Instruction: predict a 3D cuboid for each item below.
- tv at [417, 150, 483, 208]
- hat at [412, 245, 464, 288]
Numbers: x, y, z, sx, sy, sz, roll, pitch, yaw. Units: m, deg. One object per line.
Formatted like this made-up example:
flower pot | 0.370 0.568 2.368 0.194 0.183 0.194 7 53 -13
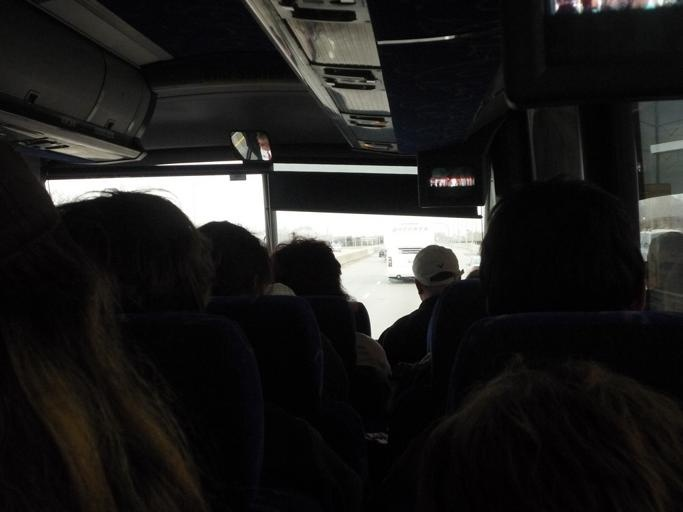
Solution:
tv | 0.815 -0.563 4.023 0.682 0.592 0.377 -1 7 11
hat | 0.593 0.030 3.266 0.316 0.240 0.445 -12 12 -4
